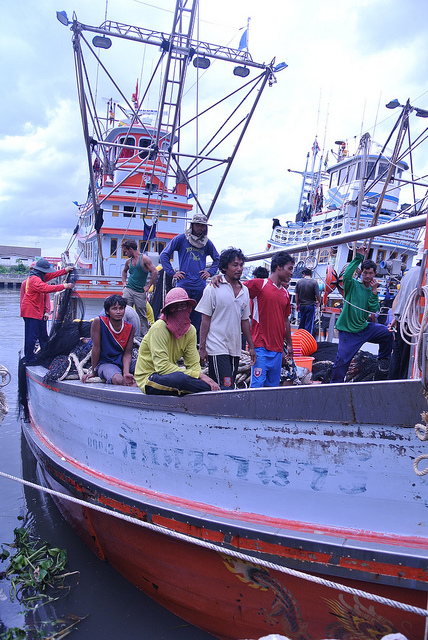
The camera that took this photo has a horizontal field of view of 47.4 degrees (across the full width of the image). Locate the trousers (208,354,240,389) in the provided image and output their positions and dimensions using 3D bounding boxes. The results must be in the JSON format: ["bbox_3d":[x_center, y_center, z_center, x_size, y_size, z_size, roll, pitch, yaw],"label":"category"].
[{"bbox_3d":[0.080,0.397,3.902,0.252,0.273,0.216,-5,7,0],"label":"trousers"}]

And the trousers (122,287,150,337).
[{"bbox_3d":[-1.151,-0.149,6.750,0.199,0.673,0.320,-27,-27,30],"label":"trousers"}]

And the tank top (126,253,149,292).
[{"bbox_3d":[-1.026,-0.641,6.726,0.249,0.509,0.426,-10,9,-36],"label":"tank top"}]

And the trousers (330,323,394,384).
[{"bbox_3d":[1.385,0.306,4.653,0.666,0.636,0.284,-8,20,-8],"label":"trousers"}]

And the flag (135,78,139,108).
[{"bbox_3d":[-2.951,-8.543,18.635,0.164,0.852,1.111,-6,7,-8],"label":"flag"}]

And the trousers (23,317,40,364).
[{"bbox_3d":[-2.695,0.220,7.254,0.263,0.826,0.247,-2,23,-22],"label":"trousers"}]

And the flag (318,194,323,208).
[{"bbox_3d":[7.530,-8.451,34.673,0.233,0.956,0.645,-1,8,26],"label":"flag"}]

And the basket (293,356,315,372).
[{"bbox_3d":[1.014,0.501,5.550,0.157,0.186,0.419,-1,7,26],"label":"basket"}]

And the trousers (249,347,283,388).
[{"bbox_3d":[0.456,0.396,4.245,0.335,0.463,0.166,-3,8,-35],"label":"trousers"}]

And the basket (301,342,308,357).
[{"bbox_3d":[1.112,0.346,5.972,0.052,0.177,0.176,-2,7,22],"label":"basket"}]

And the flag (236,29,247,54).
[{"bbox_3d":[0.603,-5.969,10.338,0.172,0.569,0.779,-4,7,7],"label":"flag"}]

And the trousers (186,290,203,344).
[{"bbox_3d":[-0.218,-0.057,5.523,0.264,0.530,0.158,-1,-5,3],"label":"trousers"}]

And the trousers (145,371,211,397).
[{"bbox_3d":[-0.255,0.372,3.249,0.347,0.160,0.439,0,6,41],"label":"trousers"}]
